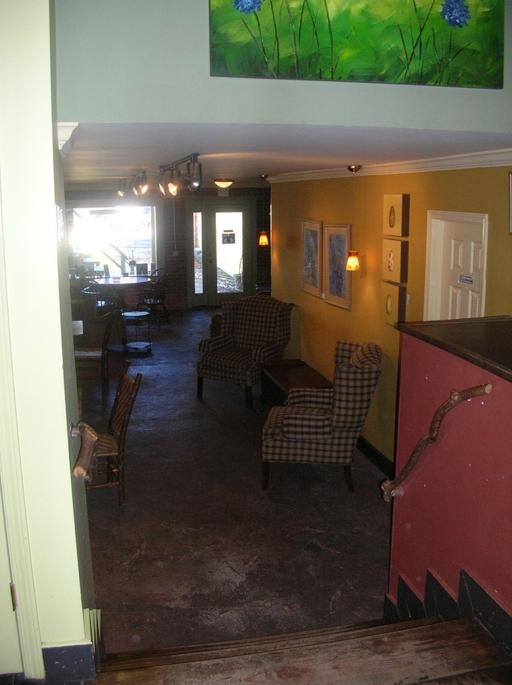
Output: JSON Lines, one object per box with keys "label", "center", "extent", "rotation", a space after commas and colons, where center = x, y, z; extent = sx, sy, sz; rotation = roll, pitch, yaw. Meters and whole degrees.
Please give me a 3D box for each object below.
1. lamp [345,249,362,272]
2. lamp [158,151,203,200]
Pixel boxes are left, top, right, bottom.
{"label": "lamp", "center": [0.954, -0.813, 5.289], "extent": [0.176, 0.207, 0.187], "rotation": [-2, 9, -2]}
{"label": "lamp", "center": [-0.709, -1.429, 4.391], "extent": [0.530, 0.276, 0.196], "rotation": [4, 39, 17]}
